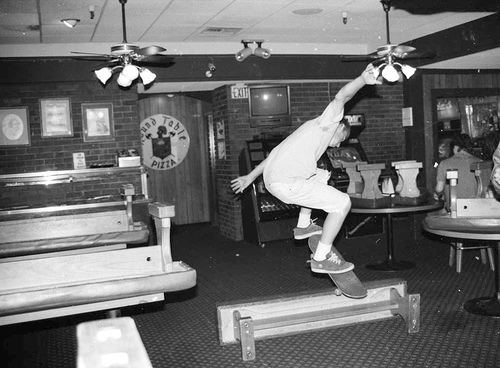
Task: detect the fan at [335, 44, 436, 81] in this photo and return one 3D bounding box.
[{"bbox_3d":[1.895,-1.615,5.586,1.375,0.447,1.326,-9,14,-22],"label":"fan"}]

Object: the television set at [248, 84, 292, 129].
[{"bbox_3d":[0.255,-1.467,8.051,0.989,0.855,0.530,-10,8,-28],"label":"television set"}]

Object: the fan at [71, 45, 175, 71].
[{"bbox_3d":[-1.937,-1.824,5.967,0.794,0.088,0.817,-2,1,-34],"label":"fan"}]

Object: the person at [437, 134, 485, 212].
[{"bbox_3d":[2.805,-0.148,5.527,0.542,1.001,1.377,0,7,28],"label":"person"}]

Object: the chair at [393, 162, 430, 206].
[{"bbox_3d":[2.035,0.002,5.492,0.536,0.453,0.510,-1,0,-1],"label":"chair"}]
